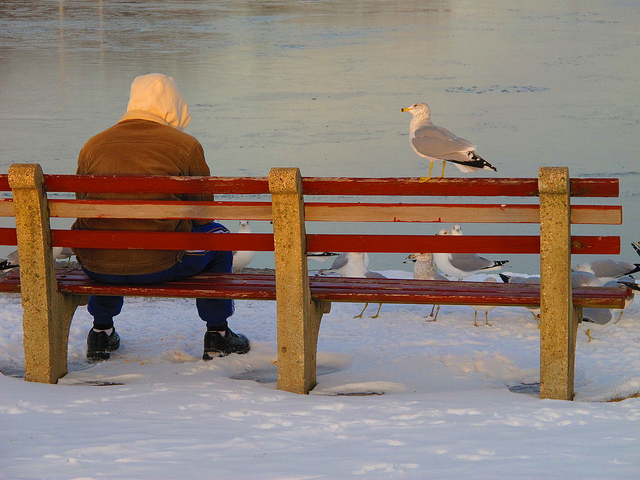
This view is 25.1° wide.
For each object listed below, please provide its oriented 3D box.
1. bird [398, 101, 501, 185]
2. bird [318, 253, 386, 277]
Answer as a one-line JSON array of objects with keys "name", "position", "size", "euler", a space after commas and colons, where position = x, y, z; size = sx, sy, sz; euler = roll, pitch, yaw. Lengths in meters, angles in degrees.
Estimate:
[{"name": "bird", "position": [1.595, -1.211, 18.102], "size": [1.426, 0.873, 0.609], "euler": [19, 25, 41]}, {"name": "bird", "position": [0.436, 0.387, 18.793], "size": [0.499, 0.169, 0.460], "euler": [6, 1, 30]}]
